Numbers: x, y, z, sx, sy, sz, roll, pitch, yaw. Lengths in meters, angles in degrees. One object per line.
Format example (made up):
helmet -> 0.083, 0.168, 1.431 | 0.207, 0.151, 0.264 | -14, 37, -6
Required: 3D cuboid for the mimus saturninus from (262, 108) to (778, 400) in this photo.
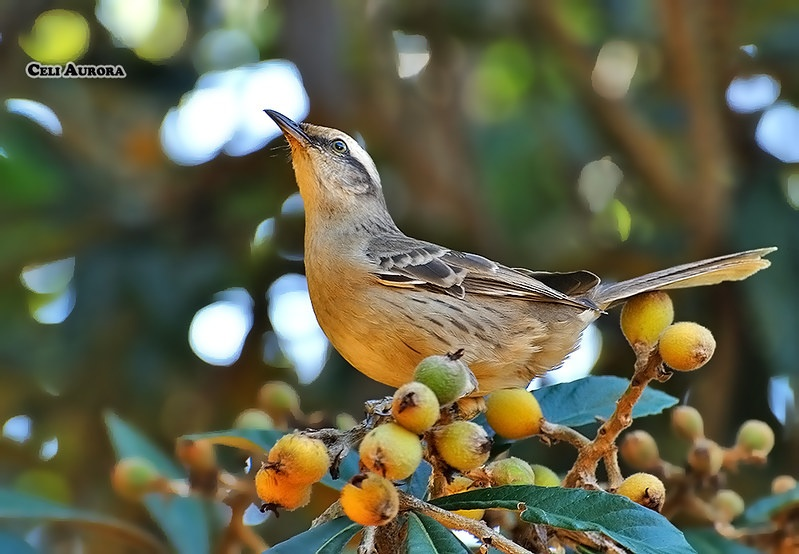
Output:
mimus saturninus -> 0.736, 0.042, 5.439 | 2.783, 1.921, 0.860 | 3, -22, -1
